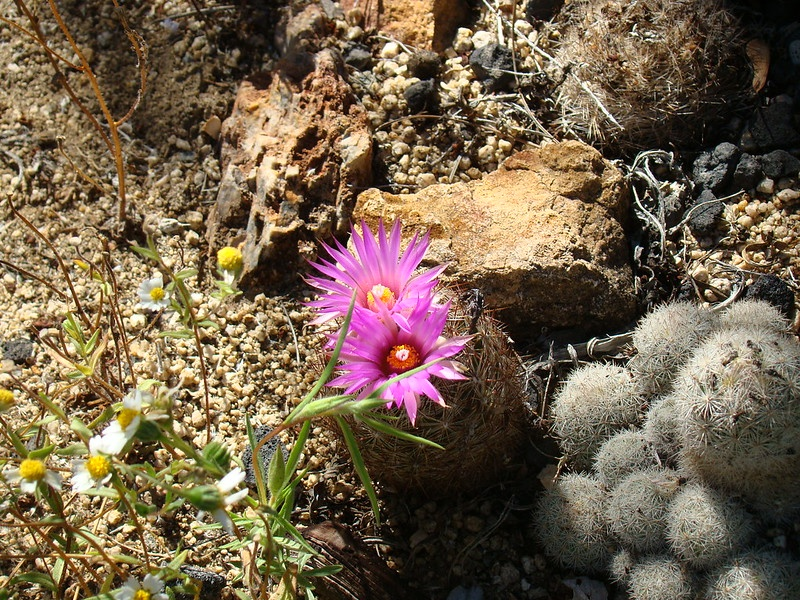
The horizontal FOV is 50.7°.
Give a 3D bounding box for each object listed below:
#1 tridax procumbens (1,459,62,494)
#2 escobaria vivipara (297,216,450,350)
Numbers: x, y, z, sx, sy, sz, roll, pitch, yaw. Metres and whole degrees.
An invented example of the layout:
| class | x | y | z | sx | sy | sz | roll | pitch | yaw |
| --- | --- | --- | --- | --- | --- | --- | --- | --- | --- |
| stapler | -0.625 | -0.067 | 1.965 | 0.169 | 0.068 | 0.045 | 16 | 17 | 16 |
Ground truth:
| class | x | y | z | sx | sy | sz | roll | pitch | yaw |
| --- | --- | --- | --- | --- | --- | --- | --- | --- | --- |
| tridax procumbens | -1.127 | 0.528 | 2.598 | 0.133 | 0.055 | 0.129 | -22 | 50 | -23 |
| escobaria vivipara | -0.083 | -0.100 | 2.798 | 0.345 | 0.420 | 0.399 | 3 | 27 | 10 |
